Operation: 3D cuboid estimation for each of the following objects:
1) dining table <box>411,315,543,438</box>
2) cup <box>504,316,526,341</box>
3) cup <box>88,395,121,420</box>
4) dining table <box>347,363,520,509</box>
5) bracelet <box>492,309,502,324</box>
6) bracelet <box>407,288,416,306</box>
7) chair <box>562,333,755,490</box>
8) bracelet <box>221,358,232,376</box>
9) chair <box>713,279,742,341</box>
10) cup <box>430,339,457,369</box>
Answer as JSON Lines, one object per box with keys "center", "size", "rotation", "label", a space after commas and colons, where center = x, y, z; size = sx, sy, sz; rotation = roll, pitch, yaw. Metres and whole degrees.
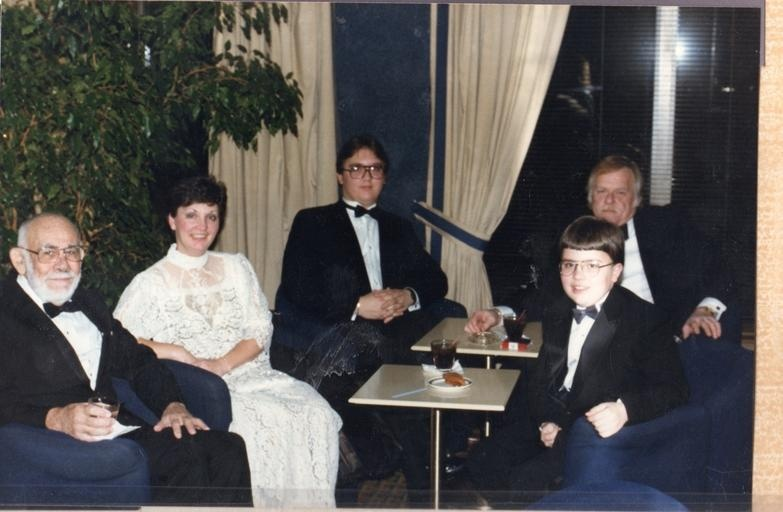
{"center": [0.496, 0.594, 4.163], "size": [0.651, 0.553, 0.641], "rotation": [2, 5, 21], "label": "dining table"}
{"center": [0.635, 0.372, 3.919], "size": [0.115, 0.109, 0.110], "rotation": [2, -14, 1], "label": "cup"}
{"center": [-1.311, 0.692, 3.455], "size": [0.144, 0.101, 0.085], "rotation": [9, 12, 29], "label": "cup"}
{"center": [0.182, 0.717, 3.621], "size": [0.740, 0.655, 0.717], "rotation": [2, 3, 12], "label": "dining table"}
{"center": [0.560, 0.321, 4.006], "size": [0.050, 0.062, 0.062], "rotation": [-1, -14, -1], "label": "bracelet"}
{"center": [0.112, 0.221, 4.078], "size": [0.068, 0.070, 0.069], "rotation": [4, 46, 3], "label": "bracelet"}
{"center": [1.380, 0.754, 4.096], "size": [0.967, 0.952, 0.788], "rotation": [1, -1, 2], "label": "chair"}
{"center": [-0.846, 0.568, 3.884], "size": [0.058, 0.054, 0.065], "rotation": [4, -16, -12], "label": "bracelet"}
{"center": [1.727, 0.267, 3.863], "size": [0.120, 0.312, 0.146], "rotation": [0, 12, -17], "label": "chair"}
{"center": [0.262, 0.480, 3.773], "size": [0.131, 0.131, 0.138], "rotation": [0, -3, 0], "label": "cup"}
